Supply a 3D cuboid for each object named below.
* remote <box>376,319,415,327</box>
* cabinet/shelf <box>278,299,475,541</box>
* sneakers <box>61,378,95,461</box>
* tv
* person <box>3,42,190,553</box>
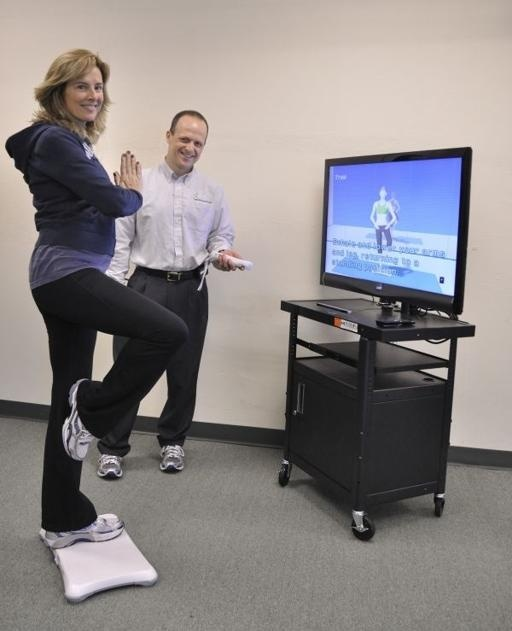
[{"bbox_3d":[0.515,0.029,1.987,0.142,0.022,0.062,3,13,-2],"label":"remote"},{"bbox_3d":[0.470,0.384,2.387,0.501,0.813,0.755,0,7,-27],"label":"cabinet/shelf"},{"bbox_3d":[-0.515,0.322,1.550,0.090,0.257,0.114,-9,11,-37],"label":"sneakers"},{"bbox_3d":[0.561,-0.340,2.189,0.080,0.557,0.702,-11,17,-32],"label":"tv"},{"bbox_3d":[-0.480,0.041,1.597,0.388,1.542,0.473,-5,16,-36],"label":"person"}]
